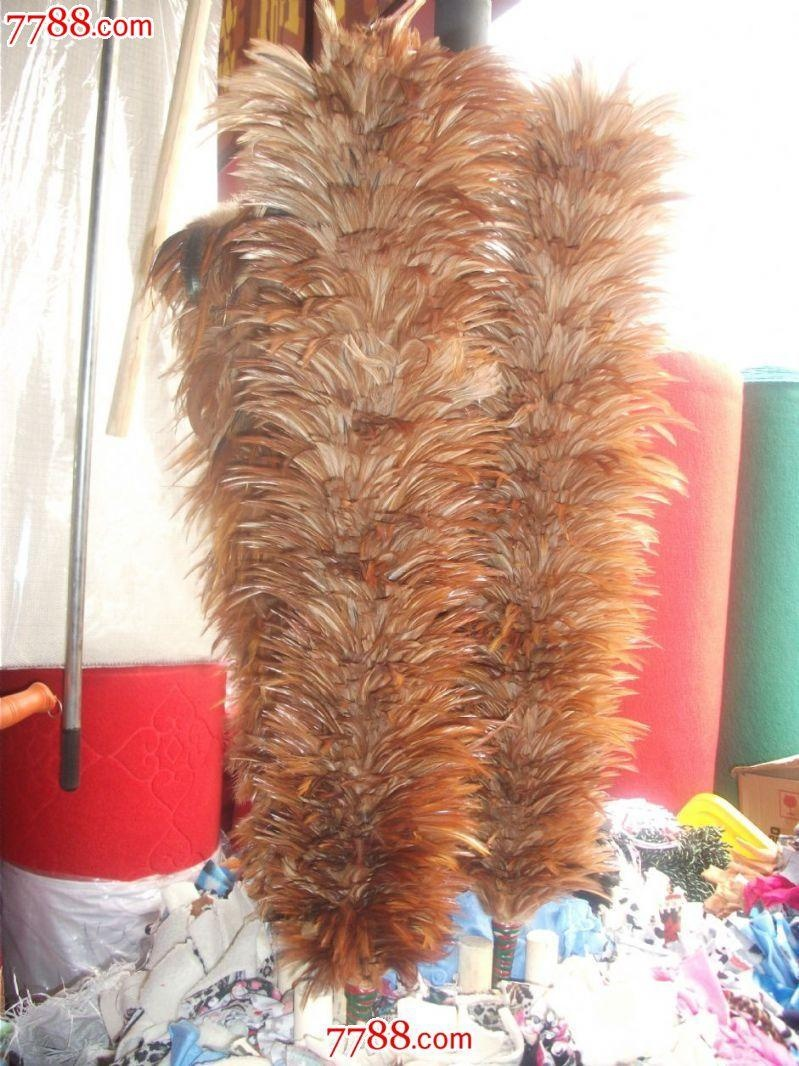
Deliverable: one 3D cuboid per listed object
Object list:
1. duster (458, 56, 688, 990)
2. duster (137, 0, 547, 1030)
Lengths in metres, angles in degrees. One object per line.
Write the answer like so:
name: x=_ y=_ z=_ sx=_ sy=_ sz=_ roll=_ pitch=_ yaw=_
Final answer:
duster: x=0.068 y=-0.007 z=0.664 sx=0.202 sy=0.525 sz=0.198 roll=3 pitch=3 yaw=1
duster: x=-0.067 y=-0.030 z=0.661 sx=0.272 sy=0.654 sz=0.147 roll=3 pitch=4 yaw=10
